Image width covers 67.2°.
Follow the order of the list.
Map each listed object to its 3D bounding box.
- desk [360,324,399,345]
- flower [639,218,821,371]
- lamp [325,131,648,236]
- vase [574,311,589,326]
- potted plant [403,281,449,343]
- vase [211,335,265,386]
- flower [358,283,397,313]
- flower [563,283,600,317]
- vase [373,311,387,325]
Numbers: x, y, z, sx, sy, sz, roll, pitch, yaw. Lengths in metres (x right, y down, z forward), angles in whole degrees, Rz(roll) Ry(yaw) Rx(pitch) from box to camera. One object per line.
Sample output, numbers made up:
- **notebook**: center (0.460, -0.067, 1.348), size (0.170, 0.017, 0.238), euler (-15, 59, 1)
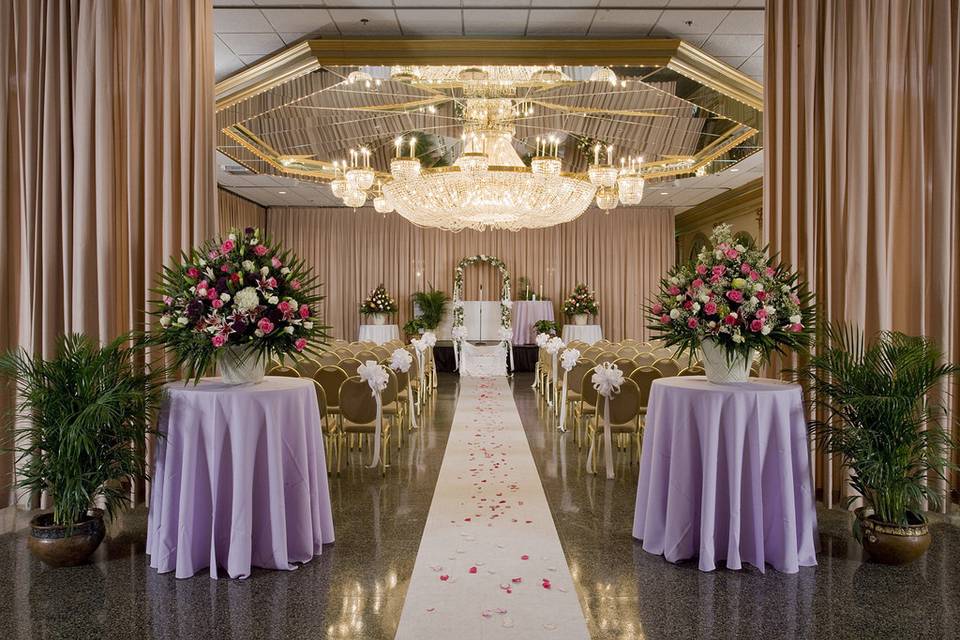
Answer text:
- **desk**: center (-2.417, 0.320, 17.146), size (0.755, 0.452, 0.759), euler (1, -2, -35)
- **flower**: center (2.159, -0.173, 6.331), size (1.286, 1.168, 1.315), euler (-1, 6, -21)
- **lamp**: center (0.024, -1.855, 10.110), size (2.772, 1.258, 2.697), euler (0, 0, 29)
- **vase**: center (2.380, -0.012, 17.268), size (0.271, 0.214, 0.268), euler (-2, 1, 16)
- **potted plant**: center (-1.349, -0.099, 17.476), size (0.743, 1.070, 1.492), euler (10, 17, 35)
- **vase**: center (-1.975, 0.353, 5.930), size (0.338, 0.262, 0.330), euler (4, -5, -33)
- **flower**: center (-2.428, -0.491, 17.334), size (0.703, 0.750, 0.725), euler (1, -1, -10)
- **flower**: center (2.421, -0.432, 17.497), size (0.803, 0.749, 0.826), euler (2, -1, -5)
- **vase**: center (-2.418, -0.042, 17.402), size (0.280, 0.224, 0.261), euler (-8, 10, -36)
